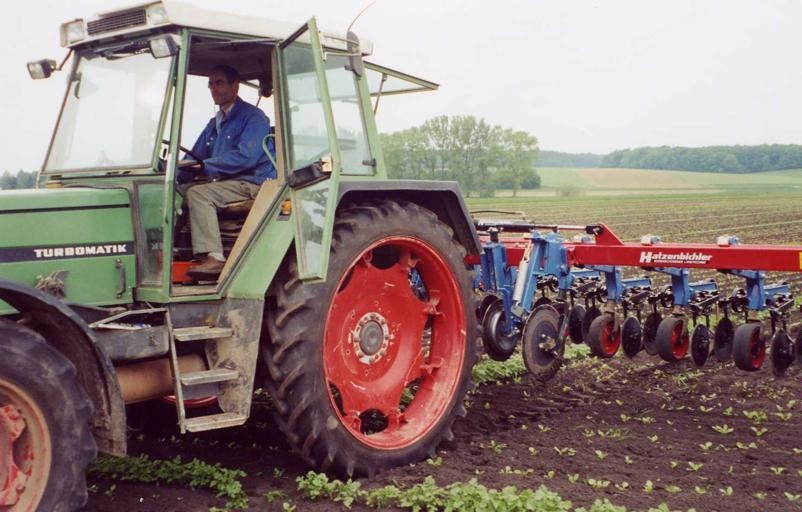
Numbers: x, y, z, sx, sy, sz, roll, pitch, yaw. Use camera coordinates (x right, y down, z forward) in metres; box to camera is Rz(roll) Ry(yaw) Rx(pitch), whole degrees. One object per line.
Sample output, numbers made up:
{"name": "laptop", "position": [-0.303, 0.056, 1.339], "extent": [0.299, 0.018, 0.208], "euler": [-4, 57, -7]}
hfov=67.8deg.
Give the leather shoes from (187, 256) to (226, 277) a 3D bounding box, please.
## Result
{"name": "leather shoes", "position": [-1.615, 0.105, 4.967], "extent": [0.334, 0.144, 0.132], "euler": [1, -1, -20]}
